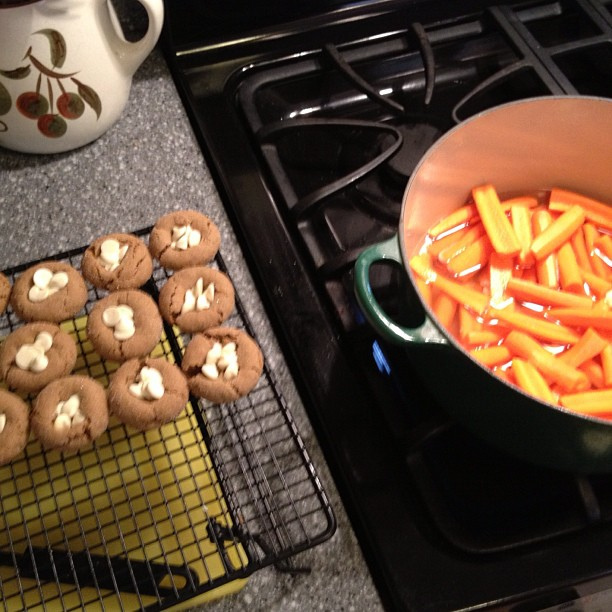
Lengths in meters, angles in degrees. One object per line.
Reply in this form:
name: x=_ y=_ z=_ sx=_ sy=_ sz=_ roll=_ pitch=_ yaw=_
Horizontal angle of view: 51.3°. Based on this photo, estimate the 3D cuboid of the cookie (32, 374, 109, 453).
cookie: x=-0.239 y=0.109 z=0.644 sx=0.069 sy=0.027 sz=0.074 roll=-20 pitch=66 yaw=-17

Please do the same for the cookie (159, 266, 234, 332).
cookie: x=-0.123 y=-0.009 z=0.715 sx=0.068 sy=0.026 sz=0.073 roll=-9 pitch=67 yaw=-12

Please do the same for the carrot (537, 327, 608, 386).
carrot: x=0.289 y=0.042 z=0.699 sx=0.046 sy=0.026 sz=0.088 roll=43 pitch=90 yaw=1

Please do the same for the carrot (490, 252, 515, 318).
carrot: x=0.228 y=-0.026 z=0.736 sx=0.026 sy=0.020 sz=0.077 roll=-4 pitch=78 yaw=10

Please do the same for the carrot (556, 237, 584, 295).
carrot: x=0.307 y=-0.046 z=0.741 sx=0.017 sy=0.018 sz=0.065 roll=-14 pitch=52 yaw=15

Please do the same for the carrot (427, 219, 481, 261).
carrot: x=0.176 y=-0.079 z=0.769 sx=0.063 sy=0.047 sz=0.059 roll=0 pitch=37 yaw=-1

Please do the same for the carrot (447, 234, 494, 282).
carrot: x=0.194 y=-0.054 z=0.745 sx=0.036 sy=0.024 sz=0.069 roll=44 pitch=75 yaw=6

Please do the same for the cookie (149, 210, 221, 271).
cookie: x=-0.143 y=-0.074 z=0.765 sx=0.085 sy=0.031 sz=0.083 roll=-13 pitch=56 yaw=-21

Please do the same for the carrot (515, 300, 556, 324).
carrot: x=0.262 y=0.008 z=0.718 sx=0.030 sy=0.013 sz=0.006 roll=30 pitch=44 yaw=23

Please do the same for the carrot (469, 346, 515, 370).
carrot: x=0.203 y=0.055 z=0.695 sx=0.046 sy=0.014 sz=0.028 roll=-15 pitch=68 yaw=-21

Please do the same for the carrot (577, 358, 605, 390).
carrot: x=0.310 y=0.072 z=0.683 sx=0.029 sy=0.018 sz=0.029 roll=41 pitch=47 yaw=6

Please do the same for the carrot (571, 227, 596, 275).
carrot: x=0.327 y=-0.065 z=0.761 sx=0.015 sy=0.014 sz=0.064 roll=-5 pitch=68 yaw=-16

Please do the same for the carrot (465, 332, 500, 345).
carrot: x=0.193 y=0.035 z=0.696 sx=0.043 sy=0.015 sz=0.014 roll=2 pitch=40 yaw=-10

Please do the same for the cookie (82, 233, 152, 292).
cookie: x=-0.217 y=-0.049 z=0.728 sx=0.074 sy=0.024 sz=0.064 roll=-10 pitch=66 yaw=-15

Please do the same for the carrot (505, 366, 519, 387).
carrot: x=0.225 y=0.075 z=0.689 sx=0.012 sy=0.005 sz=0.012 roll=-34 pitch=66 yaw=-16

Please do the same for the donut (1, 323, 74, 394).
donut: x=-0.285 y=0.053 z=0.676 sx=0.073 sy=0.022 sz=0.073 roll=5 pitch=63 yaw=-8
